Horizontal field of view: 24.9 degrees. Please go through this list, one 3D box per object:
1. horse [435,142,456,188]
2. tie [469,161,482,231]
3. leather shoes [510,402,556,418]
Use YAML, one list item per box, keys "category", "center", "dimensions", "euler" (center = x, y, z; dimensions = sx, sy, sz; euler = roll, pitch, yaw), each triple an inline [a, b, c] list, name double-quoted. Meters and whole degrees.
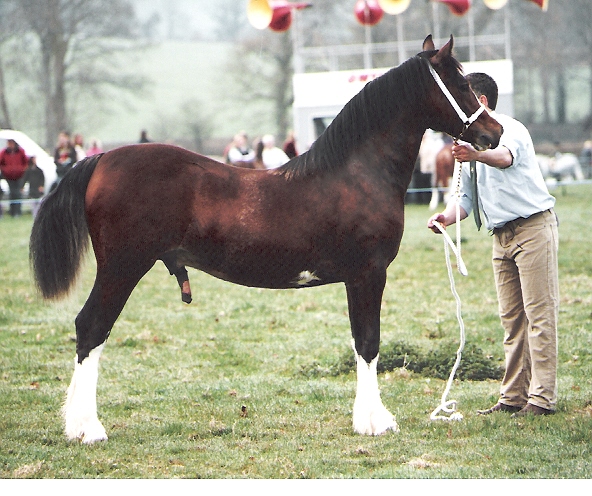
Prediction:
- category: "horse"
  center: [3.148, -1.649, 26.896]
  dimensions: [0.344, 1.080, 1.539]
  euler: [9, 6, 11]
- category: "tie"
  center: [1.801, -0.439, 13.320]
  dimensions: [0.066, 0.588, 0.063]
  euler: [-4, -3, 14]
- category: "leather shoes"
  center: [2.336, 1.554, 13.126]
  dimensions: [0.434, 0.168, 0.141]
  euler: [2, -6, 8]
